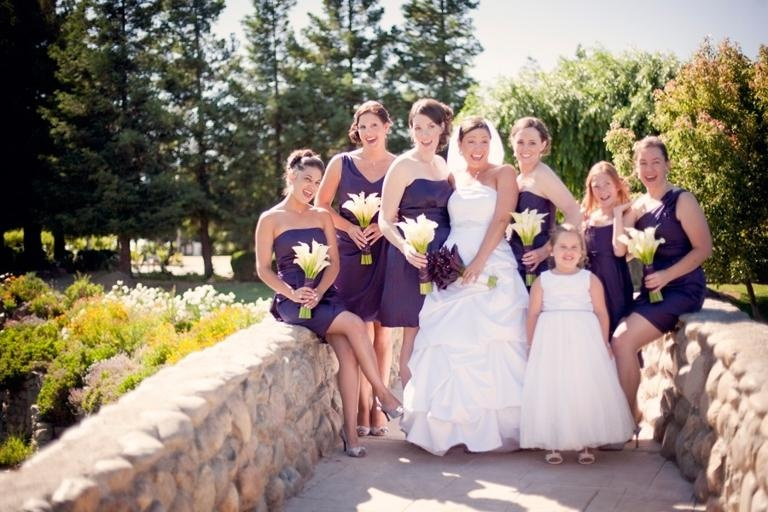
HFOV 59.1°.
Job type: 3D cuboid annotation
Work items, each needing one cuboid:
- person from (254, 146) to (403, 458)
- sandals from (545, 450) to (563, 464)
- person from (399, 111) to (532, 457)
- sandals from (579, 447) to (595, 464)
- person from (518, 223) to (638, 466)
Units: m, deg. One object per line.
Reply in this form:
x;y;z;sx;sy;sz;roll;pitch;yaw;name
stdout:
-0.703;0.496;7.937;1.463;3.480;0.733;1;9;24;person
1.854;2.212;7.442;0.137;0.169;0.153;-14;39;7;sandals
0.935;0.300;7.862;1.438;3.753;1.175;-3;8;3;person
2.214;2.152;7.450;0.183;0.169;0.232;-1;9;18;sandals
2.050;0.869;7.474;1.151;2.319;0.722;-2;8;9;person
